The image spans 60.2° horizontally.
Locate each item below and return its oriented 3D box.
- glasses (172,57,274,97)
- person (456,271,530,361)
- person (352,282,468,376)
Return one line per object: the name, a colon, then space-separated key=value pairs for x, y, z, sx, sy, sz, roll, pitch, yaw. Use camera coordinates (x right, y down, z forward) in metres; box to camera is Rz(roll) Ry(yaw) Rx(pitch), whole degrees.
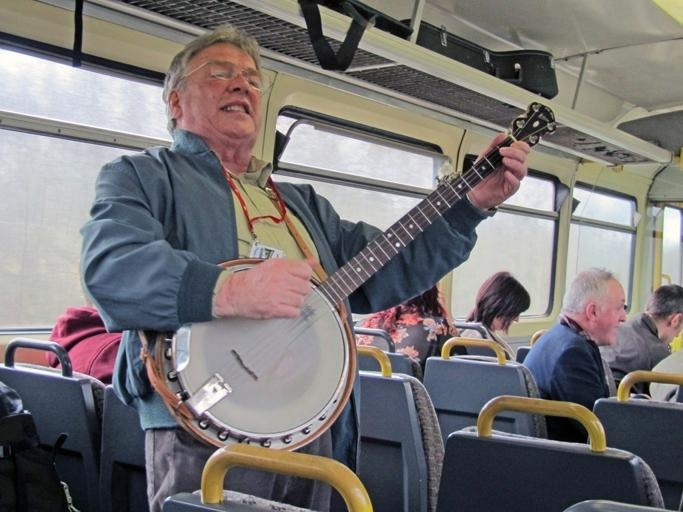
glasses: x=-0.427 y=-0.637 z=2.089 sx=0.152 sy=0.044 sz=0.155 roll=-6 pitch=-11 yaw=39
person: x=1.444 y=0.530 z=5.547 sx=0.579 sy=0.782 sz=0.551 roll=18 pitch=5 yaw=25
person: x=0.563 y=0.557 z=4.781 sx=0.725 sy=0.713 sz=0.689 roll=-1 pitch=-4 yaw=33
